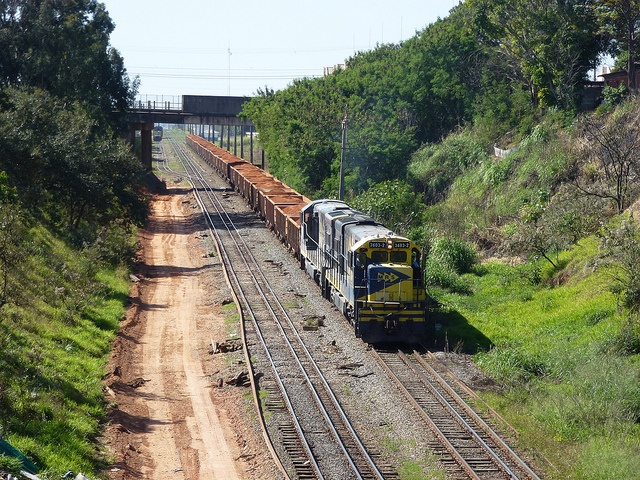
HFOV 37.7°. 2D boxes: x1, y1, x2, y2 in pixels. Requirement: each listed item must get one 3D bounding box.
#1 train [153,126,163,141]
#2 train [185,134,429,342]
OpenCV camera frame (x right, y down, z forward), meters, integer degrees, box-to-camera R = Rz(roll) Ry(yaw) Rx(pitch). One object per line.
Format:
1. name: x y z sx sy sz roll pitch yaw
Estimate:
1. train: -38.957 -25.445 224.569 1.688 0.983 65.937 -5 10 -9
2. train: -3.950 -3.972 78.745 4.256 5.349 66.261 3 11 -14
